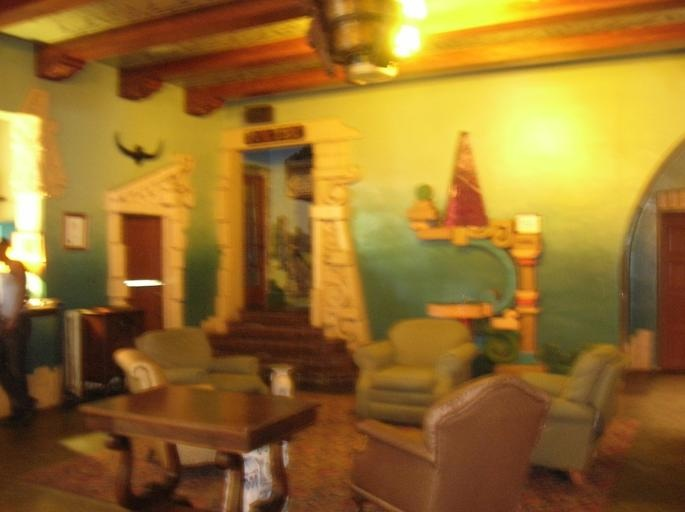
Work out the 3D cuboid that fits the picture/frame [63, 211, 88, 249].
[{"bbox_3d":[-3.256,-0.318,7.285,0.078,0.521,0.494,-3,-4,32],"label":"picture/frame"}]
